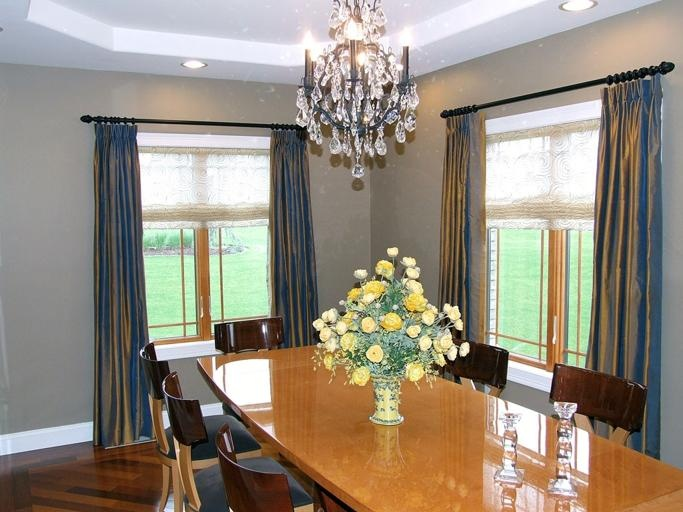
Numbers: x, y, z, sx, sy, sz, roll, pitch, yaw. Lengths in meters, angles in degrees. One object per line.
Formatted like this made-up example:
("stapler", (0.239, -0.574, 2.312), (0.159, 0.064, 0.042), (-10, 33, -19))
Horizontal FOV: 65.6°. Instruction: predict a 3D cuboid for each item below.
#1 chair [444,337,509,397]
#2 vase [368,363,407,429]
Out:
("chair", (0.938, 0.857, 3.644), (0.311, 0.471, 0.308), (16, -11, 26))
("vase", (0.237, 0.756, 2.814), (0.193, 0.246, 0.217), (-1, -7, 3))
